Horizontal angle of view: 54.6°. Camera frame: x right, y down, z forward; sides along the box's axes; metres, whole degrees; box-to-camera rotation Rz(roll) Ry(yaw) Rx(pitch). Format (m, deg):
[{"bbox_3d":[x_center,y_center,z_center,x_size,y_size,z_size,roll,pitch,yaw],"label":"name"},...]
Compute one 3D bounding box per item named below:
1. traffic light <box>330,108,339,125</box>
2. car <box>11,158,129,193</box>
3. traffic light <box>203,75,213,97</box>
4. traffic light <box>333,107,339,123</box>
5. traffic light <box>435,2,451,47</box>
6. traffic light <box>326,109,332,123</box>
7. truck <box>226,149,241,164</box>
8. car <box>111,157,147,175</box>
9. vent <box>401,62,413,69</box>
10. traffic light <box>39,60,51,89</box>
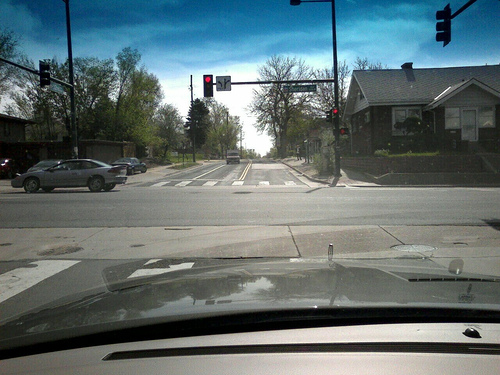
[{"bbox_3d":[4.726,-4.049,27.293,0.371,0.913,1.650,-4,-1,6],"label":"traffic light"},{"bbox_3d":[-7.986,-0.478,21.779,4.454,1.170,0.697,-5,-1,-3],"label":"car"},{"bbox_3d":[-2.101,-5.104,24.193,0.454,0.889,0.635,-4,-1,-6],"label":"traffic light"},{"bbox_3d":[4.748,-4.034,26.788,0.219,0.811,0.662,-4,-1,2],"label":"traffic light"},{"bbox_3d":[5.821,-4.910,14.581,0.439,1.350,0.362,-5,-1,24],"label":"traffic light"},{"bbox_3d":[4.511,-4.117,27.682,0.305,0.720,0.592,-5,-1,19],"label":"traffic light"},{"bbox_3d":[-1.908,-3.540,56.287,1.961,1.930,3.892,-1,1,0],"label":"truck"},{"bbox_3d":[-9.298,-1.844,38.186,1.373,0.945,2.872,1,9,5],"label":"car"},{"bbox_3d":[11.828,-9.195,36.477,0.641,0.441,0.782,-5,-1,12],"label":"vent"},{"bbox_3d":[-8.472,-4.754,19.941,0.403,0.831,1.421,-4,-1,-23],"label":"traffic light"}]
